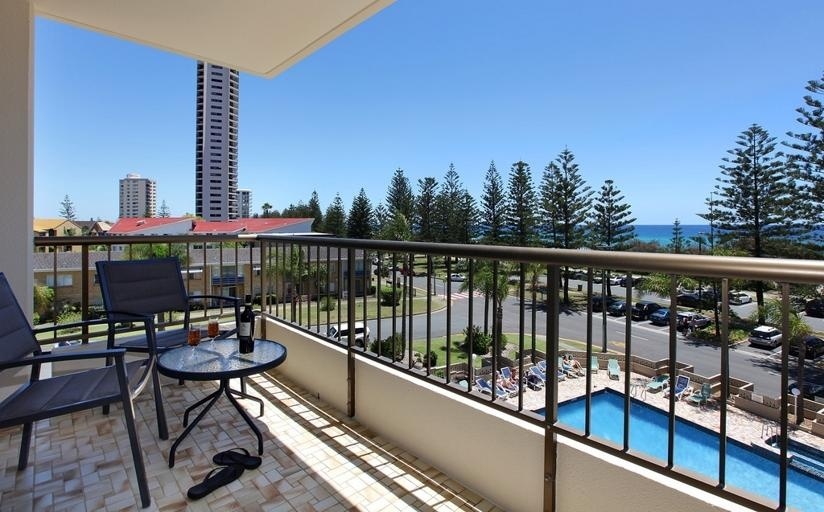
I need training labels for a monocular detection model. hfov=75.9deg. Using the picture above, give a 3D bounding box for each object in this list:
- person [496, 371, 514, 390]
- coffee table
[{"bbox_3d":[2.966,3.974,16.538,0.506,0.436,1.094,-2,-15,11],"label":"person"},{"bbox_3d":[-2.139,1.603,6.029,1.405,1.011,1.462,5,6,35],"label":"coffee table"}]
